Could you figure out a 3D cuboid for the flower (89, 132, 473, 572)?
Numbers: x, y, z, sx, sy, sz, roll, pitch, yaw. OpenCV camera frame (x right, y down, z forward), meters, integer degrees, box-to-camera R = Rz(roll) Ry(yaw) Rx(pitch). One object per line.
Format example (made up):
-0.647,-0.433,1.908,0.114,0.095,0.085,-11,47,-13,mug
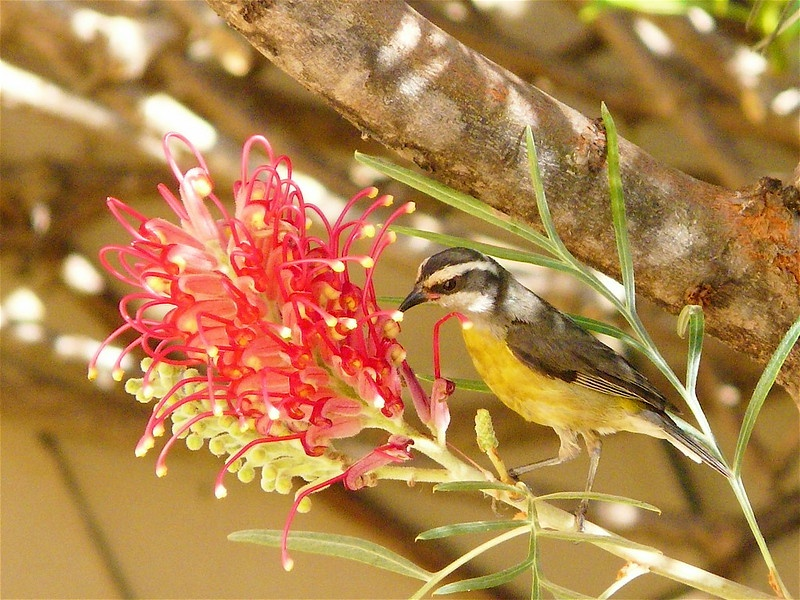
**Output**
-0.227,0.094,2.150,0.947,0.687,0.693,16,-4,9,flower
